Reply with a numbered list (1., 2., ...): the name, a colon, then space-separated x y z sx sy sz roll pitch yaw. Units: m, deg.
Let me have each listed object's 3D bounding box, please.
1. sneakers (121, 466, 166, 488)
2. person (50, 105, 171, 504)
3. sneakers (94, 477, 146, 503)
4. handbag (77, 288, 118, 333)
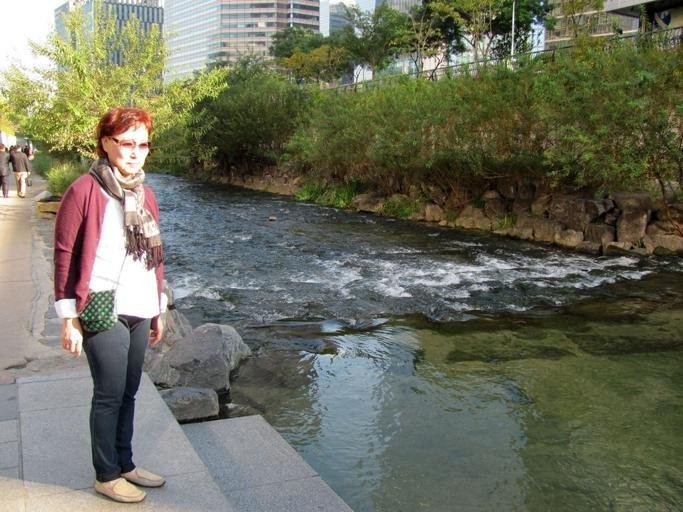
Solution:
1. sneakers: -1.420 1.588 4.077 0.294 0.096 0.128 8 -2 7
2. person: -1.561 0.330 3.920 0.759 2.704 0.473 -7 9 -39
3. sneakers: -1.522 1.612 3.883 0.309 0.102 0.156 6 5 13
4. handbag: -1.639 0.359 3.752 0.330 0.363 0.172 0 -1 -19
